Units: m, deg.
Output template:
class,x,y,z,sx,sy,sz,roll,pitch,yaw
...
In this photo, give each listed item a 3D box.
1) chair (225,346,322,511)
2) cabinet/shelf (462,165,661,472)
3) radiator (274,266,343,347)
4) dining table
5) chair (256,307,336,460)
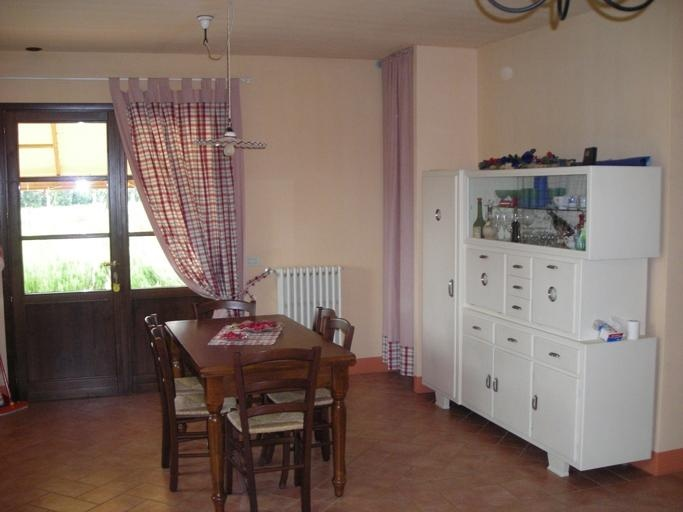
class,x,y,z,sx,sy,sz,roll,pitch,yaw
chair,-0.528,1.161,3.984,0.686,1.227,0.901,-3,9,-14
cabinet/shelf,1.713,0.465,4.456,0.748,2.359,1.522,-8,12,-38
radiator,-0.317,0.544,6.130,0.824,0.978,0.159,-2,-36,-5
dining table,-0.624,0.870,4.159,1.063,0.966,1.949,0,4,-18
chair,-0.415,1.145,4.195,0.648,1.191,0.749,1,10,-5
